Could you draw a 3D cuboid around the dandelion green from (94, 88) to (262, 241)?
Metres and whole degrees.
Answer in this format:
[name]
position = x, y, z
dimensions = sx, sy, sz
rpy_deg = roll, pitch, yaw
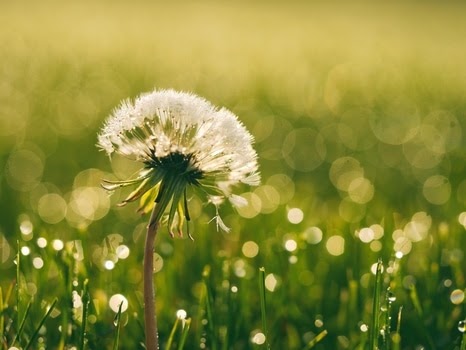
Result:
[dandelion green]
position = -0.260, -0.079, 2.581
dimensions = 0.443, 0.501, 0.462
rpy_deg = 0, 1, -34
